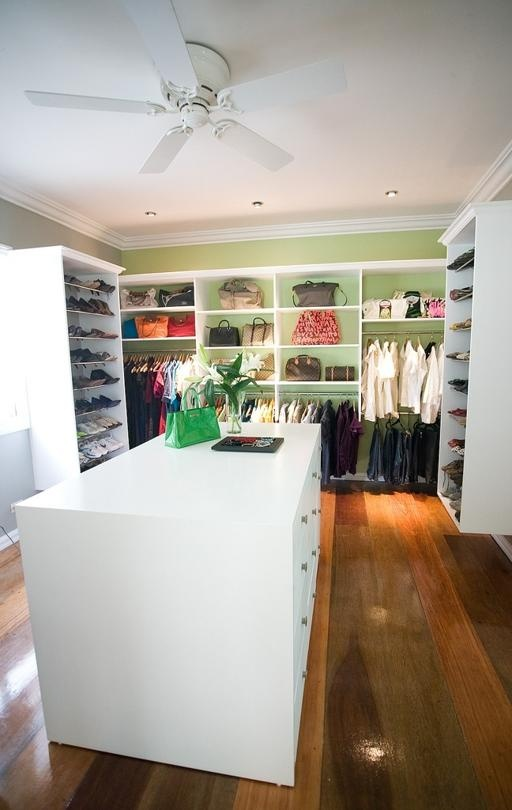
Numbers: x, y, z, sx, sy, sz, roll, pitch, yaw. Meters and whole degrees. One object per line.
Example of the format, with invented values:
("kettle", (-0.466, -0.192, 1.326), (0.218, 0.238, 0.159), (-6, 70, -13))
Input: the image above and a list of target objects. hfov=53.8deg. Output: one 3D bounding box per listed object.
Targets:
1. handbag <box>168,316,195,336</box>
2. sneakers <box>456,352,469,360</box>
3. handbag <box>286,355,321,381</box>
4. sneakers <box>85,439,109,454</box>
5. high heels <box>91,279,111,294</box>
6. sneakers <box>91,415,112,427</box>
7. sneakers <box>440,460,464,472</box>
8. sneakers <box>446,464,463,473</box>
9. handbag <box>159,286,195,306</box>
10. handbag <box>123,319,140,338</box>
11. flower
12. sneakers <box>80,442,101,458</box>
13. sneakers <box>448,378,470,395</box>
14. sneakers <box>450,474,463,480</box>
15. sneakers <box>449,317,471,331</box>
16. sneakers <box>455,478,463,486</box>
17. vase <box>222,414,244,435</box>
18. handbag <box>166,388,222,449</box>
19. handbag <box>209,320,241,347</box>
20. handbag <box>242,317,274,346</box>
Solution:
("handbag", (-0.686, -0.721, 4.667), (0.167, 0.176, 0.099), (-1, -2, 12))
("sneakers", (1.310, -0.306, 3.177), (0.042, 0.051, 0.123), (2, 7, 7))
("handbag", (0.434, -0.324, 4.578), (0.210, 0.188, 0.074), (1, 6, 14))
("sneakers", (-1.245, 0.331, 3.897), (0.102, 0.055, 0.141), (-1, 10, -28))
("high heels", (-1.229, -0.927, 3.969), (0.103, 0.067, 0.158), (-10, 28, -27))
("sneakers", (-1.255, 0.137, 4.119), (0.117, 0.039, 0.084), (14, 13, 43))
("sneakers", (1.362, 0.414, 3.438), (0.079, 0.057, 0.136), (-4, -4, 29))
("sneakers", (1.336, 0.431, 3.370), (0.058, 0.077, 0.180), (-1, -7, 14))
("handbag", (-0.742, -0.990, 4.682), (0.300, 0.171, 0.198), (-9, 28, 7))
("handbag", (-1.205, -0.712, 4.803), (0.153, 0.172, 0.054), (-1, 0, 16))
("flower", (-0.134, -0.114, 2.446), (0.368, 0.361, 0.357), (-3, 1, -16))
("sneakers", (-1.255, 0.345, 3.824), (0.122, 0.055, 0.079), (7, 6, 38))
("sneakers", (1.339, -0.133, 3.325), (0.090, 0.135, 0.320), (0, 7, 6))
("sneakers", (1.322, 0.472, 3.300), (0.068, 0.045, 0.132), (-1, -3, 11))
("sneakers", (1.339, -0.506, 3.245), (0.091, 0.090, 0.267), (0, 9, -1))
("sneakers", (1.383, 0.529, 3.423), (0.040, 0.057, 0.138), (-3, -11, 13))
("vase", (-0.120, 0.105, 2.570), (0.094, 0.114, 0.095), (0, -4, 0))
("handbag", (-0.335, 0.064, 2.633), (0.099, 0.294, 0.298), (0, 7, 33))
("handbag", (-0.282, -0.655, 4.695), (0.238, 0.232, 0.104), (1, 10, 13))
("handbag", (0.026, -0.666, 4.661), (0.240, 0.241, 0.117), (4, 11, 21))
